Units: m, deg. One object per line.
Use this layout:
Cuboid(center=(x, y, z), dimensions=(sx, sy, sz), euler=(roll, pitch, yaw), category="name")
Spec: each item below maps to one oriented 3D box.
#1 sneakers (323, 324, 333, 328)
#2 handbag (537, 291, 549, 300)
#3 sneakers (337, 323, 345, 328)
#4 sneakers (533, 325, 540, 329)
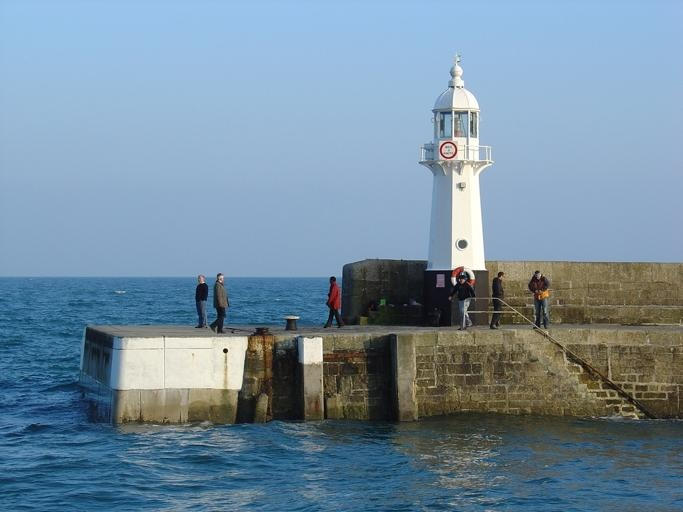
Cuboid(center=(-0.411, 2.257, 46.260), dimensions=(0.151, 0.144, 0.262), euler=(-2, -6, -19), category="sneakers")
Cuboid(center=(6.663, 1.233, 45.972), dimensions=(0.335, 0.253, 0.276), euler=(-9, 8, -8), category="handbag")
Cuboid(center=(-0.014, 2.253, 46.297), dimensions=(0.187, 0.111, 0.190), euler=(-2, -11, -6), category="sneakers")
Cuboid(center=(6.286, 2.238, 45.103), dimensions=(0.192, 0.159, 0.610), euler=(-2, -4, 8), category="sneakers")
